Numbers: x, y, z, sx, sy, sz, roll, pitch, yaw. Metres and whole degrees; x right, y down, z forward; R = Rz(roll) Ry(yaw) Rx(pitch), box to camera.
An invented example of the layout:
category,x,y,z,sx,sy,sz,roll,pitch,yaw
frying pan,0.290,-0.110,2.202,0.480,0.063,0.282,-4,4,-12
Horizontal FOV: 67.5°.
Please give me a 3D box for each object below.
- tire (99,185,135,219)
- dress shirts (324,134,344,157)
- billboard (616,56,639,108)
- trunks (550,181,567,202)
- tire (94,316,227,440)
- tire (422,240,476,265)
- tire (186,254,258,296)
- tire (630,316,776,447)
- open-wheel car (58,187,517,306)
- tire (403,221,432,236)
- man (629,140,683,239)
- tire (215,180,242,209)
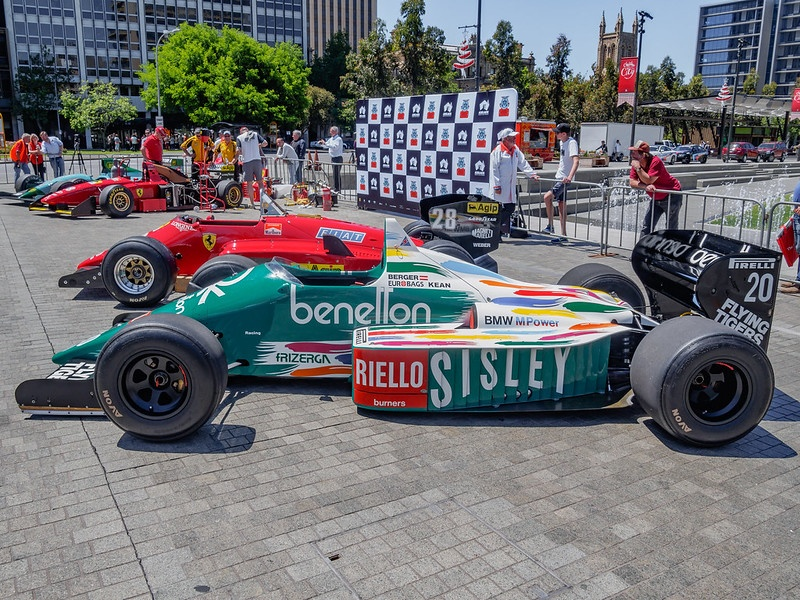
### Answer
category,x,y,z,sx,sy,sz,roll,pitch,yaw
tire,-7.107,-2.466,15.000,0.256,0.733,0.687,0,-20,44
dress shirts,-2.138,-4.787,19.365,0.661,0.961,1.062,1,22,-4
billboard,11.683,-11.230,30.773,0.758,2.169,1.618,5,17,17
trunks,3.326,-2.263,12.524,0.432,0.389,0.629,5,28,18
tire,-1.839,0.632,4.589,0.751,0.850,0.332,8,5,-4
tire,0.540,-0.547,6.880,0.442,0.162,0.475,3,26,0
tire,-1.836,-0.264,6.240,0.491,0.559,0.221,-2,14,1
tire,2.374,0.646,4.751,0.975,0.952,0.463,-1,16,-3
open-wheel car,-1.779,-0.827,8.624,5.476,1.633,2.546,3,10,-2
tire,0.257,-1.049,8.863,0.324,0.138,0.333,5,8,41
man,4.175,-1.975,9.781,0.556,0.807,0.589,-14,16,2
tire,-4.936,-3.023,17.119,0.252,0.800,0.744,6,11,29
